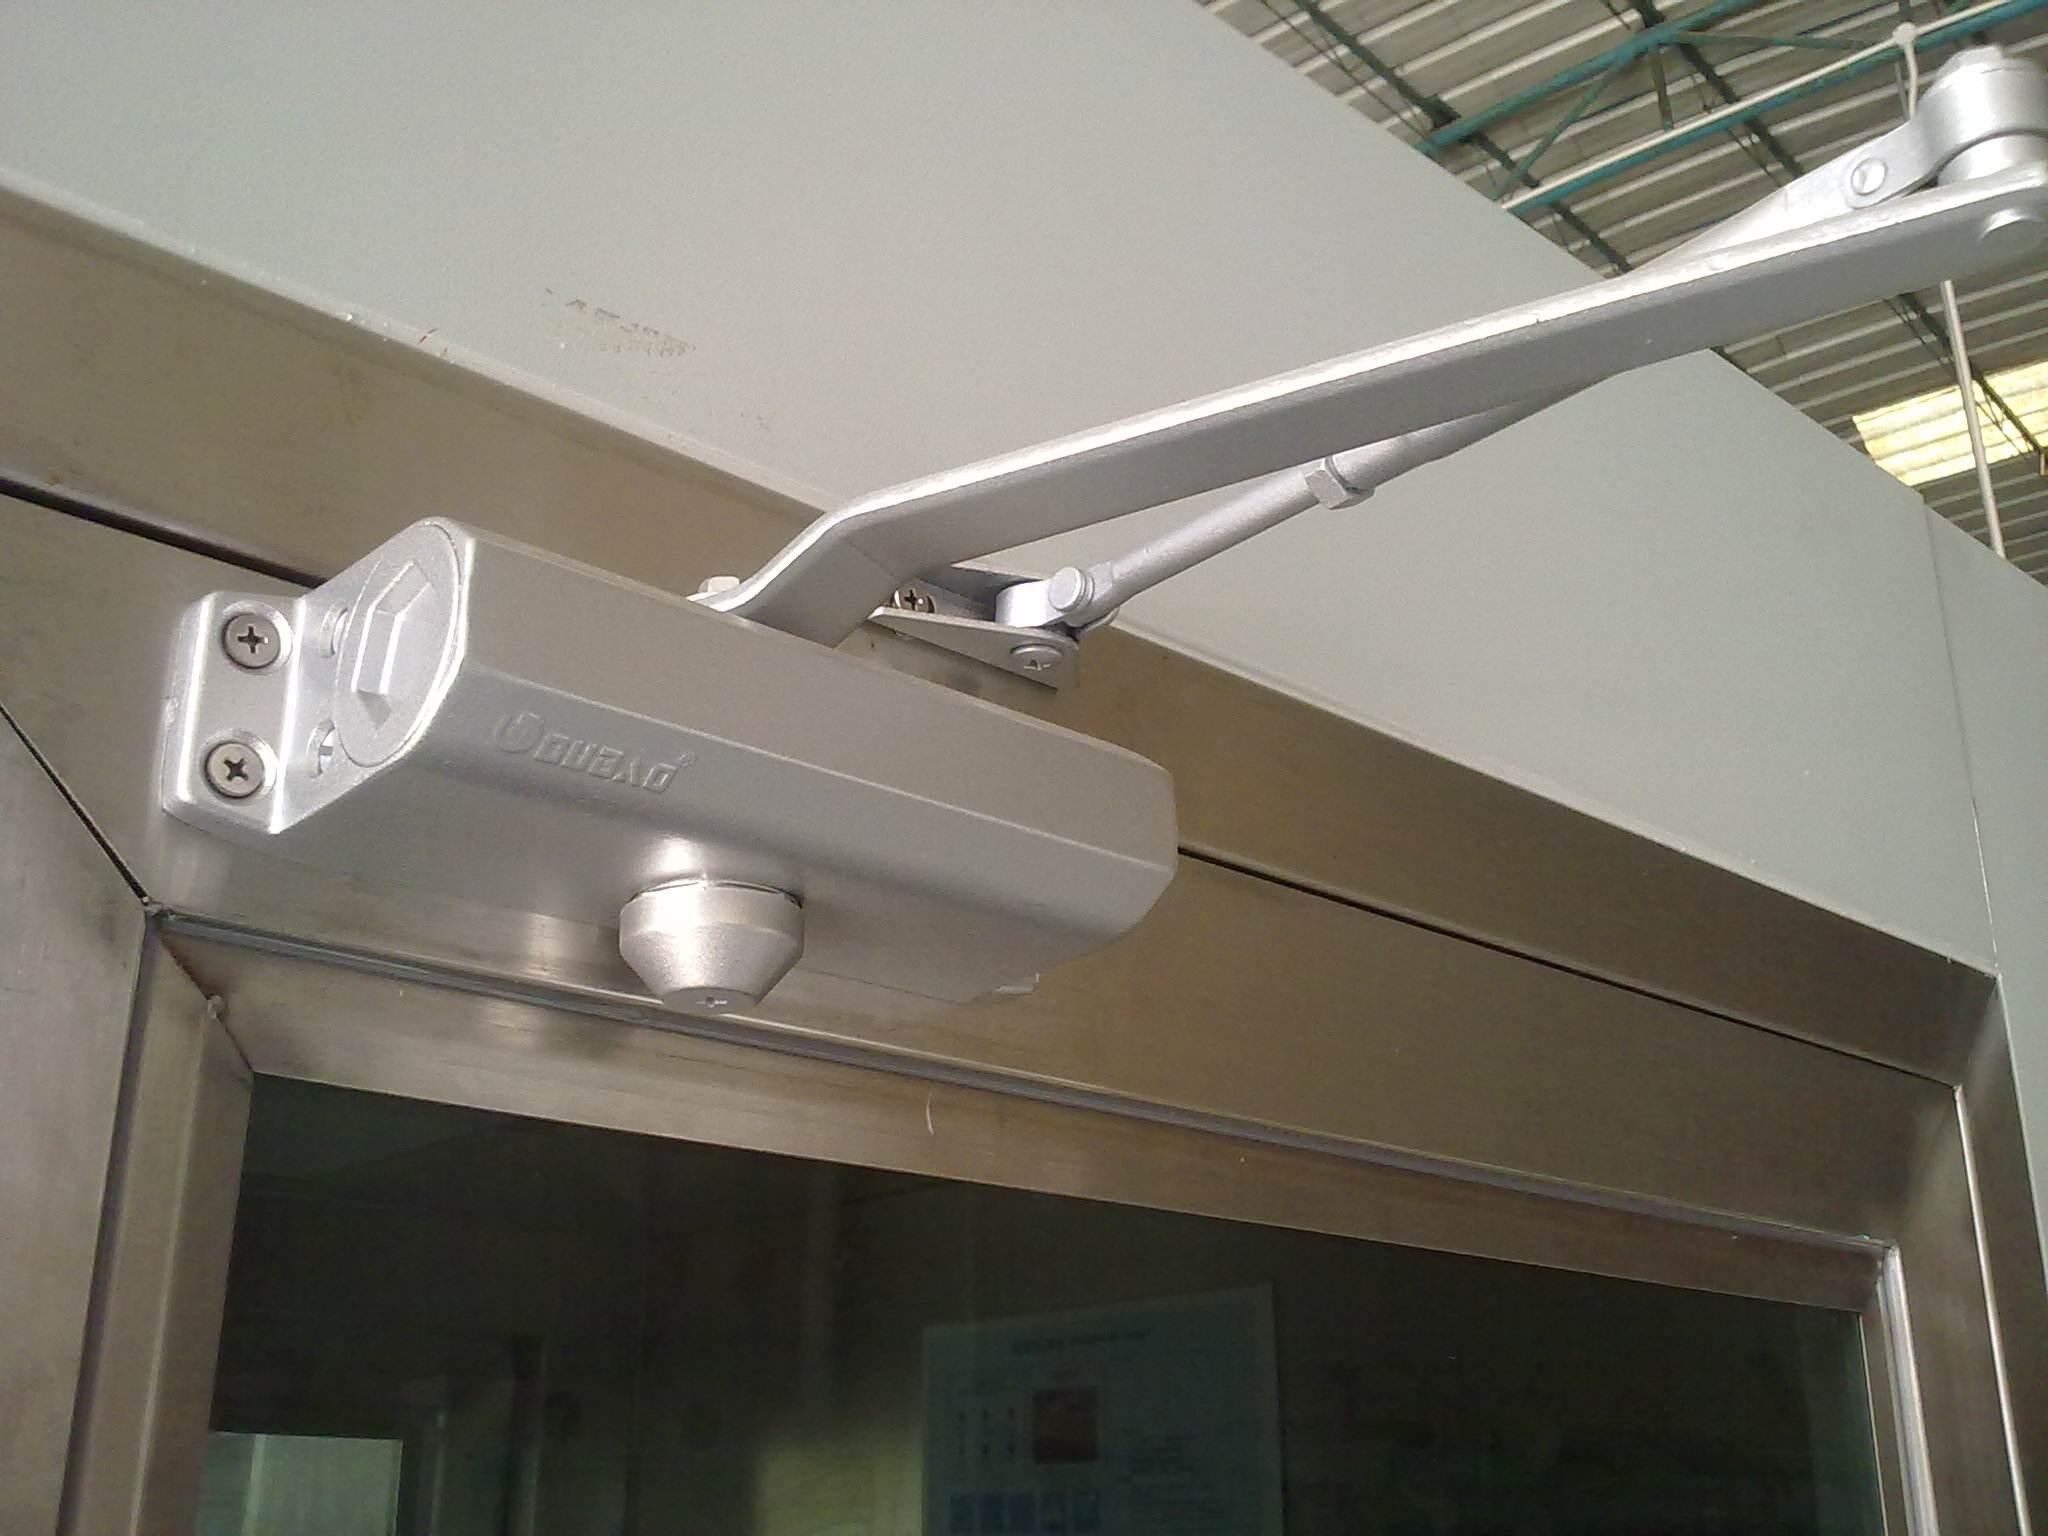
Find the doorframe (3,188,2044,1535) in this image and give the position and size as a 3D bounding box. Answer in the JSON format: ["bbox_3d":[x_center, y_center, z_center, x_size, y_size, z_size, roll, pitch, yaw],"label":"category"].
[{"bbox_3d":[0.004,0.051,0.804,0.825,0.490,0.041,17,-35,-35],"label":"doorframe"}]
